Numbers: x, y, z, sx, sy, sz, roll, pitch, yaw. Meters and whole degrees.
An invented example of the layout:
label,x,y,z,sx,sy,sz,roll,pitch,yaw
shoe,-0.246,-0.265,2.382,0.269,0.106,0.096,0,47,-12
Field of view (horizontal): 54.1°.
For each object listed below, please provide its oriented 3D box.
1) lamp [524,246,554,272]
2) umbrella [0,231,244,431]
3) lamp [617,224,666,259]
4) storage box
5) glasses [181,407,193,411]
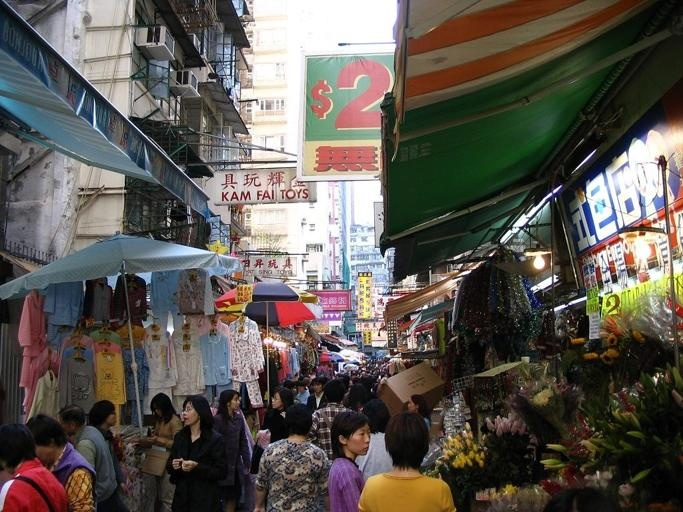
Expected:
label,x,y,z,sx,sy,sz,roll,pitch,yaw
lamp,1.964,0.013,6.718,0.321,0.336,0.233,1,-9,-9
umbrella,-2.751,0.662,8.088,2.025,2.102,2.139,2,-8,-30
lamp,2.366,-0.150,5.323,0.283,0.228,0.314,1,-11,4
storage box,0.807,1.498,7.798,0.800,0.449,0.566,-28,-44,-20
glasses,-1.421,1.415,6.212,0.071,0.025,0.071,16,-21,-31
